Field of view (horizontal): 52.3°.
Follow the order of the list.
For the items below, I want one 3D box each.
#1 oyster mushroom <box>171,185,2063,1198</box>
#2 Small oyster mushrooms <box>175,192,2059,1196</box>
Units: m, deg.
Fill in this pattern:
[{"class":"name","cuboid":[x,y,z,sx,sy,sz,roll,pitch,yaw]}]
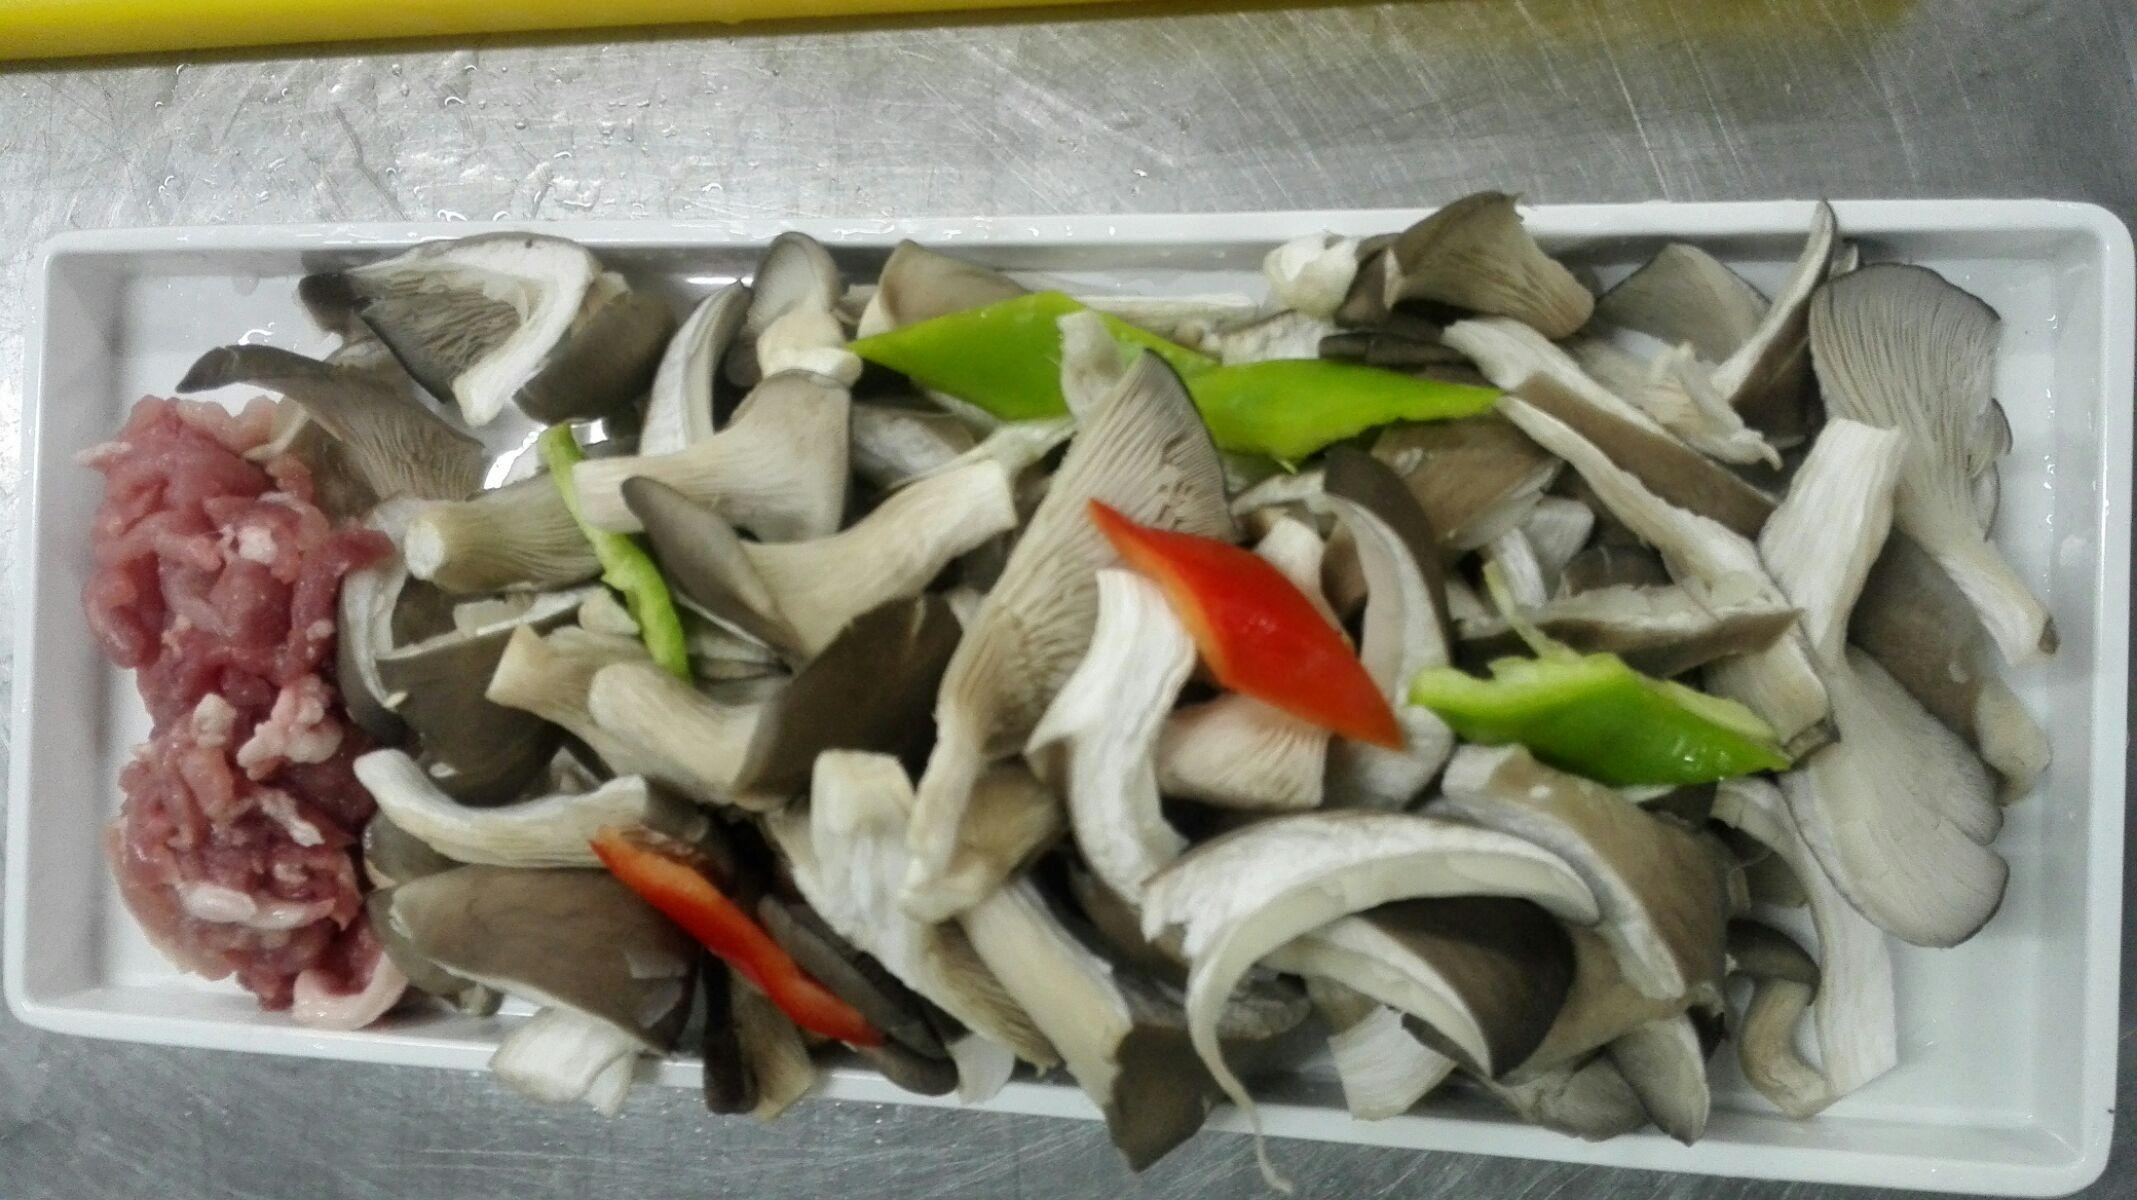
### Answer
[{"class":"oyster mushroom","cuboid":[0.060,0.070,2.159,1.921,0.495,0.825,0,99,5]},{"class":"Small oyster mushrooms","cuboid":[0.030,0.066,2.160,1.920,0.488,0.823,0,98,5]}]
